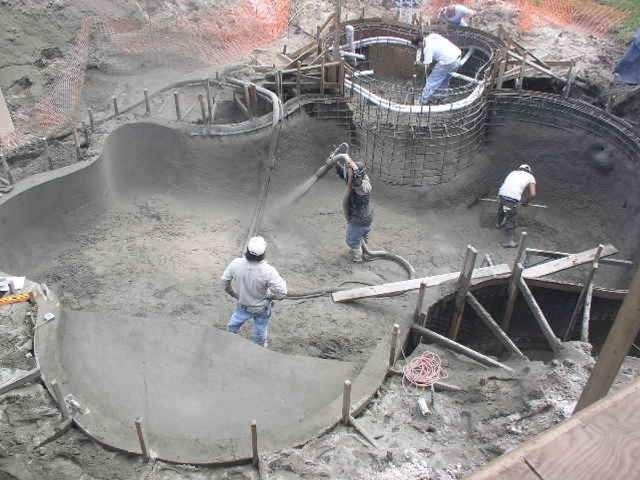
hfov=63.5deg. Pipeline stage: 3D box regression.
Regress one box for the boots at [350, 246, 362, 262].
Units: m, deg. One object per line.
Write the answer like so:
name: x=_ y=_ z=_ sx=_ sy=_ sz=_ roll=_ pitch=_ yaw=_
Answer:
boots: x=0.749 y=0.312 z=10.856 sx=0.221 sy=0.096 sz=0.290 roll=-12 pitch=31 yaw=7

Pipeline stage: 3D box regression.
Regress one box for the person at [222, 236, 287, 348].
person: x=-1.073 y=0.925 z=8.256 sx=1.001 sy=1.940 sz=0.594 roll=5 pitch=35 yaw=2

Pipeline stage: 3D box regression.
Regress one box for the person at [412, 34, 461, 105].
person: x=2.982 y=-4.243 z=13.082 sx=0.898 sy=1.484 sz=1.115 roll=10 pitch=35 yaw=8

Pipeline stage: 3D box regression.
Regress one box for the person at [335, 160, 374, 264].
person: x=0.681 y=-0.485 z=10.617 sx=0.850 sy=2.298 sz=1.239 roll=5 pitch=43 yaw=6

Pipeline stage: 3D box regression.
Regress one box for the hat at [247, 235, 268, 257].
hat: x=-0.973 y=0.098 z=7.983 sx=0.257 sy=0.251 sz=0.304 roll=13 pitch=35 yaw=13

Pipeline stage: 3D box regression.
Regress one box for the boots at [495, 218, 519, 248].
boots: x=4.197 y=-0.141 z=11.663 sx=0.359 sy=0.457 sz=0.582 roll=27 pitch=0 yaw=7

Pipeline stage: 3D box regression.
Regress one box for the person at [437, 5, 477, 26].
person: x=4.018 y=-6.635 z=15.291 sx=0.835 sy=0.554 sz=0.809 roll=6 pitch=34 yaw=3

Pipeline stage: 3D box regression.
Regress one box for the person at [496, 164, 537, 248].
person: x=4.303 y=-0.864 z=11.625 sx=0.786 sy=1.718 sz=0.791 roll=-15 pitch=34 yaw=-30
